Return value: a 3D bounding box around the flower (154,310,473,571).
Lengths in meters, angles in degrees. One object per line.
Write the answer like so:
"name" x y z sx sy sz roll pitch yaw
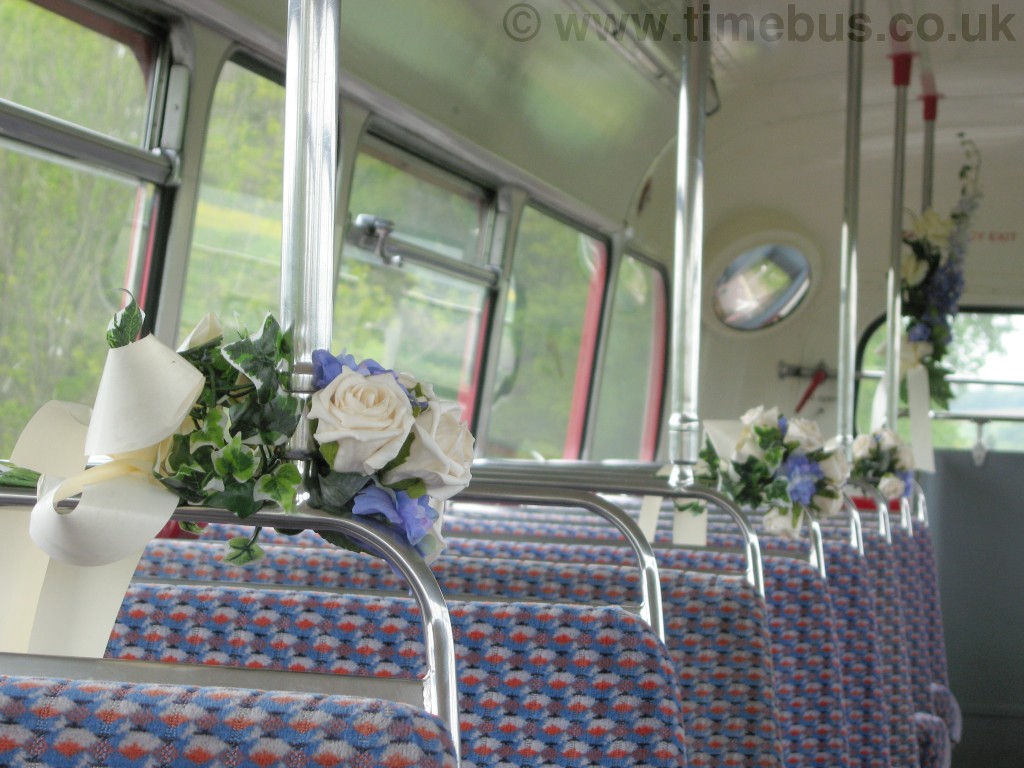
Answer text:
"flower" -0.234 0.056 1.035 0.286 0.219 0.296 13 12 -17
